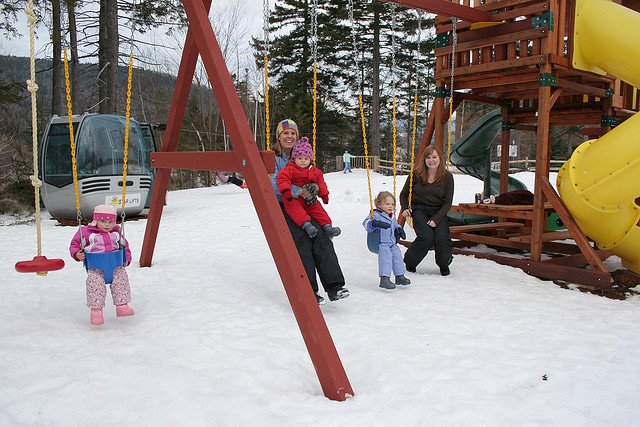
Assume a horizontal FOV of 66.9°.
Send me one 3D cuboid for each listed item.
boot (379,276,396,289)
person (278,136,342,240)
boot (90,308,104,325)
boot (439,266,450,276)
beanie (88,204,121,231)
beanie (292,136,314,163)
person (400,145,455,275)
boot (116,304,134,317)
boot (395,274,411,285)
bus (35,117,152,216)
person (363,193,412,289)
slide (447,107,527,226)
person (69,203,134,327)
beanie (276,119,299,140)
[{"bbox_3d":[0.949,0.988,6.872,0.249,0.223,0.119,0,2,6],"label":"boot"},{"bbox_3d":[-0.169,-0.336,6.368,0.789,1.336,0.634,-1,9,-8],"label":"person"},{"bbox_3d":[-2.634,1.211,5.675,0.135,0.216,0.140,-4,10,-24],"label":"boot"},{"bbox_3d":[1.950,0.880,7.550,0.146,0.150,0.143,2,9,12],"label":"boot"},{"bbox_3d":[-2.629,0.018,5.842,0.358,0.246,0.340,5,4,-34],"label":"beanie"},{"bbox_3d":[-0.242,-0.856,6.333,0.245,0.278,0.296,0,4,-7],"label":"beanie"},{"bbox_3d":[1.724,-0.066,7.616,0.727,1.984,0.640,2,9,13],"label":"person"},{"bbox_3d":[-2.391,1.168,5.846,0.237,0.211,0.109,-2,0,2],"label":"boot"},{"bbox_3d":[1.196,0.966,7.016,0.232,0.211,0.103,-3,5,7],"label":"boot"},{"bbox_3d":[-5.861,-1.220,12.840,2.747,2.754,2.118,-2,-1,42],"label":"bus"},{"bbox_3d":[0.980,0.392,7.020,0.687,1.366,0.531,1,9,5],"label":"person"},{"bbox_3d":[3.755,-1.078,11.192,1.517,2.588,2.494,4,10,24],"label":"slide"},{"bbox_3d":[-2.601,0.610,5.740,0.638,1.400,0.397,-4,10,-26],"label":"person"},{"bbox_3d":[-0.456,-1.141,6.523,0.281,0.263,0.377,-1,9,-7],"label":"beanie"}]
